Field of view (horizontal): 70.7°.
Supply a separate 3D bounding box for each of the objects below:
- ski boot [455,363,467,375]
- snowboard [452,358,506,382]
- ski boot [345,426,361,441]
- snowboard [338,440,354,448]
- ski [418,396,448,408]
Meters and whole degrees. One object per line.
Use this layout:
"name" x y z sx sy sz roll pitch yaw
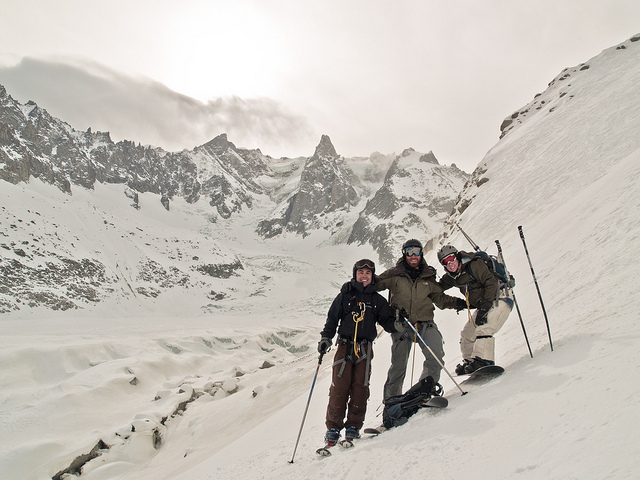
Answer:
"ski boot" 3.464 3.160 11.095 0.184 0.201 0.317 -6 -10 40
"snowboard" 3.712 3.012 10.580 0.509 0.509 1.308 6 -16 -18
"ski boot" 0.711 4.227 9.897 0.217 0.259 0.274 8 -14 -6
"snowboard" 0.542 4.341 9.696 0.167 0.075 0.212 7 -19 -25
"ski" 2.449 3.409 9.515 0.772 0.177 0.140 -14 9 13
